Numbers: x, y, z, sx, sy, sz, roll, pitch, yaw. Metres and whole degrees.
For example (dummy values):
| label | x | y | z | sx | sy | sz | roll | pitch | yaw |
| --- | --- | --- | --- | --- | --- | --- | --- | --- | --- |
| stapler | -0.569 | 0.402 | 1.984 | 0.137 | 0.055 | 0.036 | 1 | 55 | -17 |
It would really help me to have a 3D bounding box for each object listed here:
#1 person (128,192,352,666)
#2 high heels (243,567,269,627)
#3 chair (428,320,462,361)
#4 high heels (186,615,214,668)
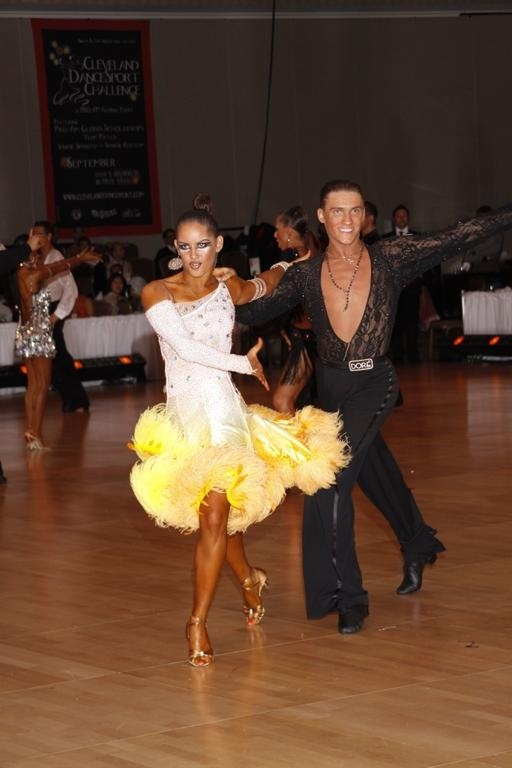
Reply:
| label | x | y | z | sx | sy | sz | roll | pitch | yaw |
| --- | --- | --- | --- | --- | --- | --- | --- | --- | --- |
| person | -0.072 | 0.191 | 1.987 | 0.721 | 1.453 | 0.560 | -17 | 20 | -35 |
| high heels | 0.010 | 0.711 | 2.137 | 0.076 | 0.198 | 0.083 | 0 | 7 | 10 |
| chair | 3.154 | -0.722 | 10.719 | 0.703 | 0.818 | 0.662 | -1 | 3 | 4 |
| high heels | -0.156 | 0.714 | 1.767 | 0.060 | 0.063 | 0.167 | -2 | 5 | -7 |
